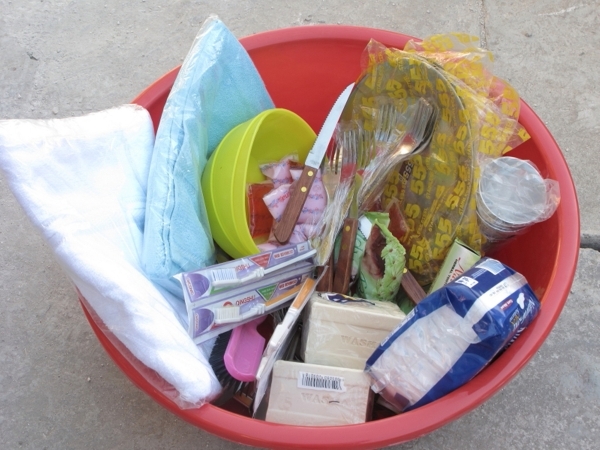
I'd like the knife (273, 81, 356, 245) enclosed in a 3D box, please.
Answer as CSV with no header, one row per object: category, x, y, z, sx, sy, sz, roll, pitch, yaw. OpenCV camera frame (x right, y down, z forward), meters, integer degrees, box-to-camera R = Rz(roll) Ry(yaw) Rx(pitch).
knife,0.034,-0.136,1.341,0.039,0.041,0.422,19,81,-5

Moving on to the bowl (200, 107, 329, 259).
bowl,-0.080,-0.100,1.271,0.136,0.268,0.352,-1,91,40
